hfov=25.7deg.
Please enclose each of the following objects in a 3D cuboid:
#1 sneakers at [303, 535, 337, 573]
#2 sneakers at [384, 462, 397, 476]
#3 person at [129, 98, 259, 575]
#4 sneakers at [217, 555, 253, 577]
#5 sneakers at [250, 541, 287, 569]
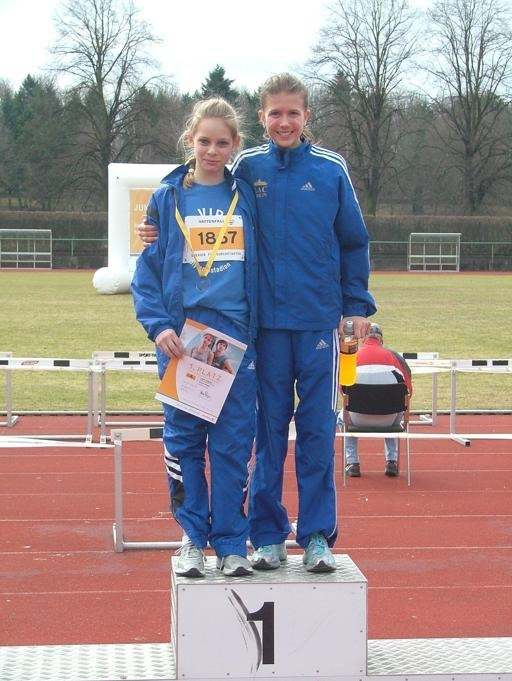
[{"bbox_3d":[0.219,0.745,3.892,0.079,0.087,0.208,0,-8,-1],"label":"sneakers"},{"bbox_3d":[0.851,0.813,7.028,0.075,0.090,0.217,0,-5,5],"label":"sneakers"},{"bbox_3d":[-0.210,-0.036,3.960,0.444,1.646,0.524,-2,4,-6],"label":"person"},{"bbox_3d":[-0.076,0.769,3.839,0.123,0.057,0.136,-2,4,-2],"label":"sneakers"},{"bbox_3d":[0.047,0.767,3.976,0.120,0.067,0.181,-1,4,4],"label":"sneakers"}]
